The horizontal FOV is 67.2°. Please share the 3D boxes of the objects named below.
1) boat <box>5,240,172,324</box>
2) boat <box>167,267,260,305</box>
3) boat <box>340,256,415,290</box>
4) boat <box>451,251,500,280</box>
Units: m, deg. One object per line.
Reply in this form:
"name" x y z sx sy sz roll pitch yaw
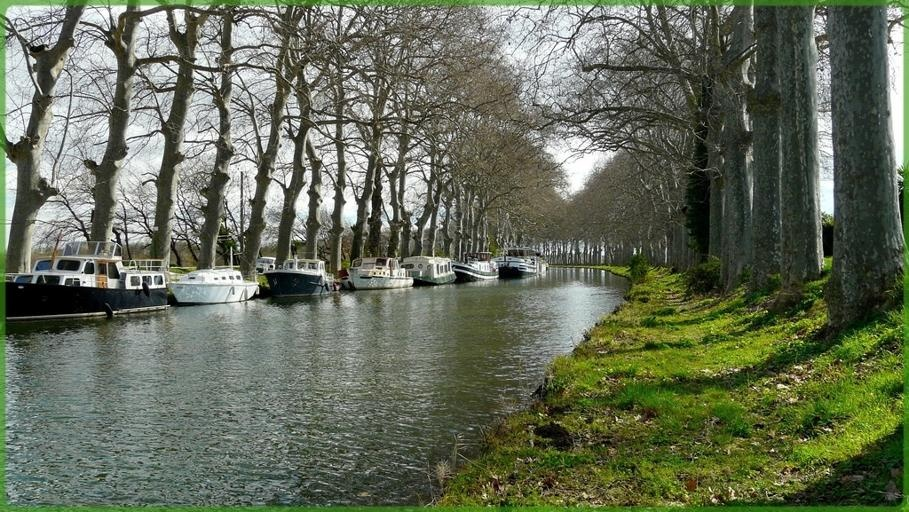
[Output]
"boat" -18.132 1.441 34.065 3.440 3.201 8.667 -2 -7 26
"boat" -14.691 1.935 42.239 1.806 2.961 4.726 3 15 27
"boat" -6.088 1.612 56.747 2.260 3.481 5.820 5 16 35
"boat" 2.317 1.610 74.287 3.290 3.361 9.168 -1 13 14
